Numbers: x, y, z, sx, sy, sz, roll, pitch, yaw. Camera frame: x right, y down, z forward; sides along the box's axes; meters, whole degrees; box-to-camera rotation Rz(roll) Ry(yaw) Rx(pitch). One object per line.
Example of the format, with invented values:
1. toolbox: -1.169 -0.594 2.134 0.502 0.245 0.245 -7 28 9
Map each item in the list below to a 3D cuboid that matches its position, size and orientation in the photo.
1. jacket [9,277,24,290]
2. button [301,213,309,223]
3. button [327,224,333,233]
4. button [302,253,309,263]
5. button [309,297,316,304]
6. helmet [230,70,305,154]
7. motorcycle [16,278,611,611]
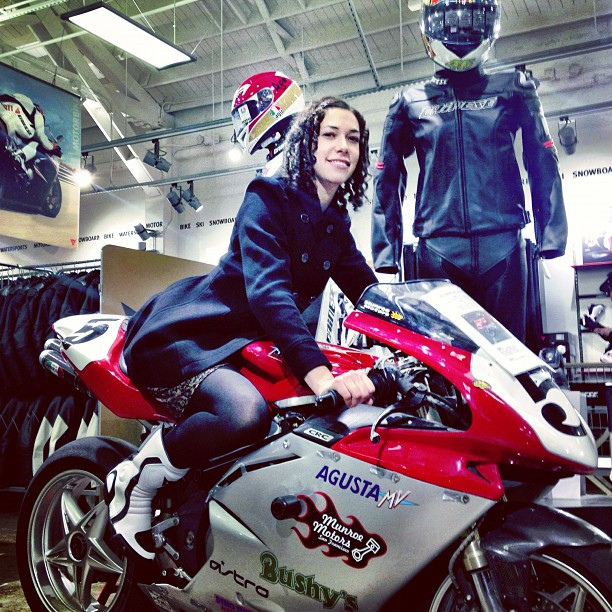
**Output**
1. jacket: -3.022 -0.244 5.657 0.106 0.157 0.059 10 -3 -34
2. button: -0.002 -0.227 1.408 0.020 0.022 0.007 -14 8 -34
3. button: 0.066 -0.209 1.475 0.016 0.020 0.006 -14 24 -37
4. button: -0.003 -0.126 1.422 0.018 0.023 0.006 2 6 -7
5. button: 0.018 -0.016 1.563 0.004 0.015 0.016 16 12 37
6. helmet: -0.230 -1.253 3.450 0.518 0.450 0.404 -18 10 -2
7. motorcycle: -0.089 0.438 1.359 1.484 0.928 0.413 -5 5 25
